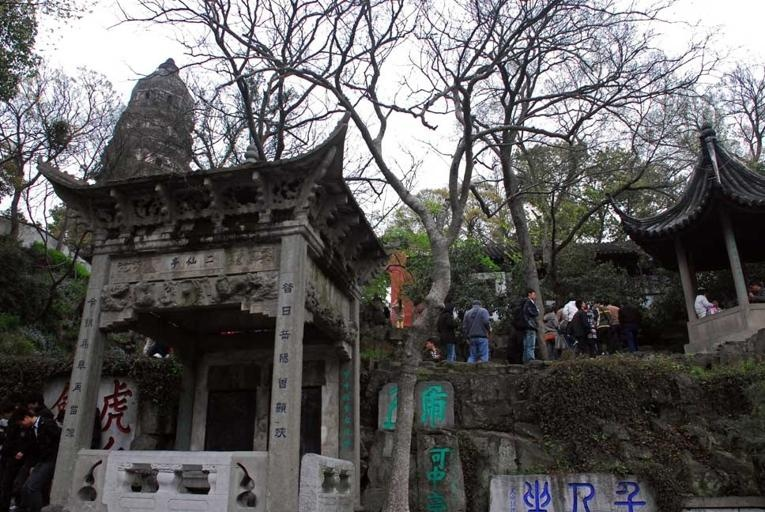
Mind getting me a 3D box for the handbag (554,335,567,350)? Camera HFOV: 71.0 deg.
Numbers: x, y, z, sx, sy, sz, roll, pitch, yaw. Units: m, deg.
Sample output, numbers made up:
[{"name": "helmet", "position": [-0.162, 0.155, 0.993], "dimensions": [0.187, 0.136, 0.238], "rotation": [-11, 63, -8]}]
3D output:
[{"name": "handbag", "position": [5.004, 2.434, 15.132], "dimensions": [0.314, 0.504, 0.237], "rotation": [-15, -39, 17]}]
